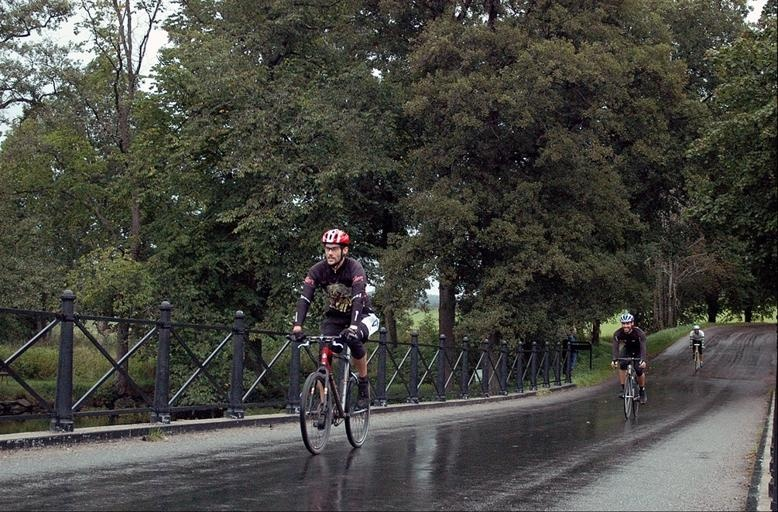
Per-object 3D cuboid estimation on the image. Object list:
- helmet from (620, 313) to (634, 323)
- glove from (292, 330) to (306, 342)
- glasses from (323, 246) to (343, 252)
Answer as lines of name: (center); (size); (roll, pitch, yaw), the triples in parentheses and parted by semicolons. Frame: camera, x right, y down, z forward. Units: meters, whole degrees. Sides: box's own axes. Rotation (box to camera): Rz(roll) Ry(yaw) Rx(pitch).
helmet: (8.447, 2.203, 36.596); (0.358, 0.230, 0.545); (-2, -3, 23)
glove: (-2.578, 2.336, 30.028); (0.354, 0.292, 0.307); (-4, -7, 8)
glasses: (-1.564, -0.219, 30.329); (0.491, 0.182, 0.175); (-2, -7, -6)
